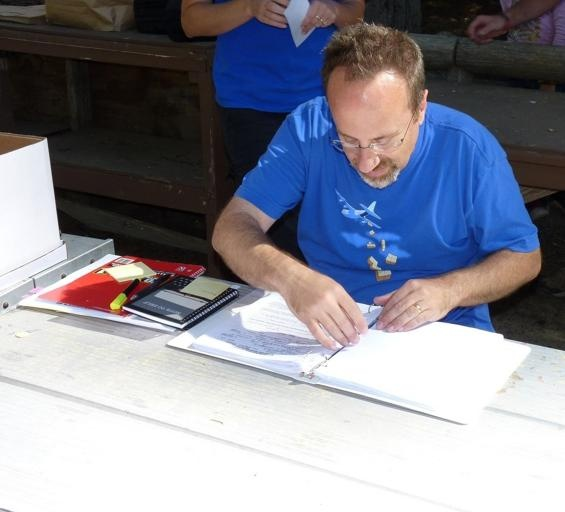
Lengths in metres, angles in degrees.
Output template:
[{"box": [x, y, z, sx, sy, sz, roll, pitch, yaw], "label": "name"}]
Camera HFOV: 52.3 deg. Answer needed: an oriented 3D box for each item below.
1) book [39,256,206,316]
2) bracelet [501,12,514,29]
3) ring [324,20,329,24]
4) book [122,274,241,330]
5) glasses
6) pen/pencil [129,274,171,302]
[{"box": [-0.437, 0.085, 1.380, 0.229, 0.021, 0.208, 5, 21, 17], "label": "book"}, {"box": [1.338, -1.397, 3.436, 0.072, 0.084, 0.106, 4, -2, 31], "label": "bracelet"}, {"box": [0.158, -0.850, 2.099, 0.017, 0.011, 0.004, -8, 17, -33], "label": "ring"}, {"box": [-0.239, 0.098, 1.331, 0.172, 0.028, 0.162, 12, 23, 27], "label": "book"}, {"box": [0.216, -0.297, 1.393, 0.151, 0.035, 0.135, 12, 43, 40], "label": "glasses"}, {"box": [-0.315, 0.076, 1.373, 0.032, 0.024, 0.119, 38, 33, 19], "label": "pen/pencil"}]
